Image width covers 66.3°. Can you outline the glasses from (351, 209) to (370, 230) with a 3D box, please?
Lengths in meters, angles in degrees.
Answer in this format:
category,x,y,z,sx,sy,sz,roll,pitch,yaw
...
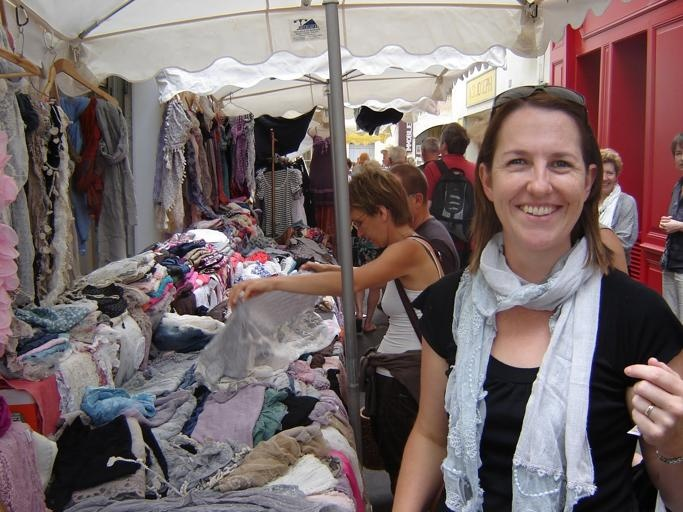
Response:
category,x,y,z,sx,sy,sz,roll,pitch,yaw
glasses,0.103,-0.220,3.149,0.033,0.113,0.108,-32,-8,3

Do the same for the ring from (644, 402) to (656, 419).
category,x,y,z,sx,sy,sz,roll,pitch,yaw
ring,0.785,0.395,1.336,0.026,0.026,0.028,-21,27,11

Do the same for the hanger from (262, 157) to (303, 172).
category,x,y,z,sx,sy,sz,roll,pitch,yaw
hanger,-0.957,-1.439,8.194,0.716,0.220,0.249,3,16,-17
